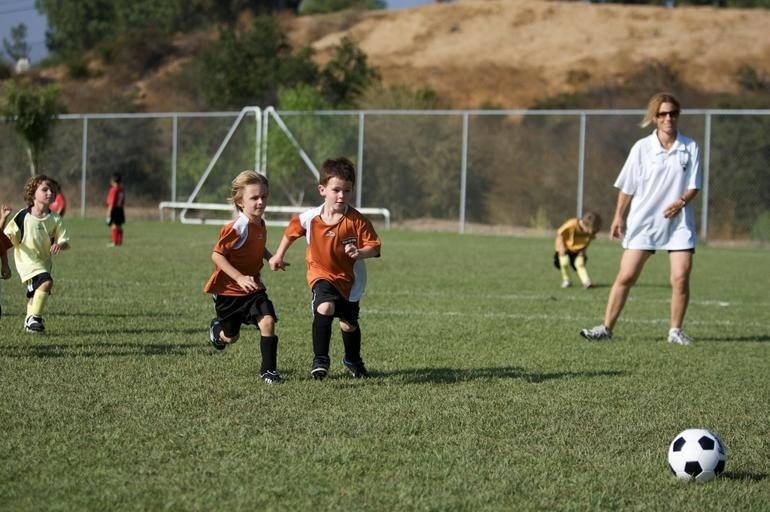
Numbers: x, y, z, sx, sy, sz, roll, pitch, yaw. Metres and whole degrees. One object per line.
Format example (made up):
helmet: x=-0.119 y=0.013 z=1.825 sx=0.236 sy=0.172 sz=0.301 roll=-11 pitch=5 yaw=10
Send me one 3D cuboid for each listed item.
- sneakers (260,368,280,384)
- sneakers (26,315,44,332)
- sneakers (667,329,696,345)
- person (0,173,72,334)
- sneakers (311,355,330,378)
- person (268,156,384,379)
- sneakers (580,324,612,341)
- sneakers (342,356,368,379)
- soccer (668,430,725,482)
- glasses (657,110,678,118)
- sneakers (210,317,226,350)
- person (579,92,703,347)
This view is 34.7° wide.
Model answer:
sneakers: x=-0.934 y=0.974 z=9.925 sx=0.138 sy=0.058 sz=0.087 roll=12 pitch=3 yaw=-33
sneakers: x=-3.162 y=0.614 z=11.061 sx=0.167 sy=0.138 sz=0.133 roll=1 pitch=4 yaw=-12
sneakers: x=2.699 y=0.739 z=11.190 sx=0.118 sy=0.100 sz=0.212 roll=12 pitch=-3 yaw=-43
person: x=-3.193 y=-0.035 z=11.206 sx=0.569 sy=1.409 sz=0.534 roll=1 pitch=4 yaw=-18
sneakers: x=-0.528 y=0.904 z=9.986 sx=0.139 sy=0.202 sz=0.203 roll=2 pitch=4 yaw=-6
person: x=-0.457 y=0.092 z=10.090 sx=0.800 sy=1.802 sz=0.509 roll=2 pitch=4 yaw=-3
sneakers: x=1.941 y=0.711 z=11.276 sx=0.315 sy=0.149 sz=0.118 roll=3 pitch=-1 yaw=-3
sneakers: x=-0.222 y=0.921 z=10.138 sx=0.247 sy=0.117 sz=0.105 roll=18 pitch=16 yaw=39
soccer: x=2.257 y=1.460 z=8.919 sx=0.369 sy=0.387 sz=0.358 roll=3 pitch=-29 yaw=2
glasses: x=2.519 y=-1.266 z=10.922 sx=0.192 sy=0.060 sz=0.105 roll=3 pitch=4 yaw=10
sneakers: x=-1.414 y=0.698 z=10.272 sx=0.111 sy=0.331 sz=0.147 roll=-6 pitch=20 yaw=-3
person: x=2.391 y=-0.327 z=11.062 sx=0.831 sy=2.232 sz=0.497 roll=3 pitch=4 yaw=10
